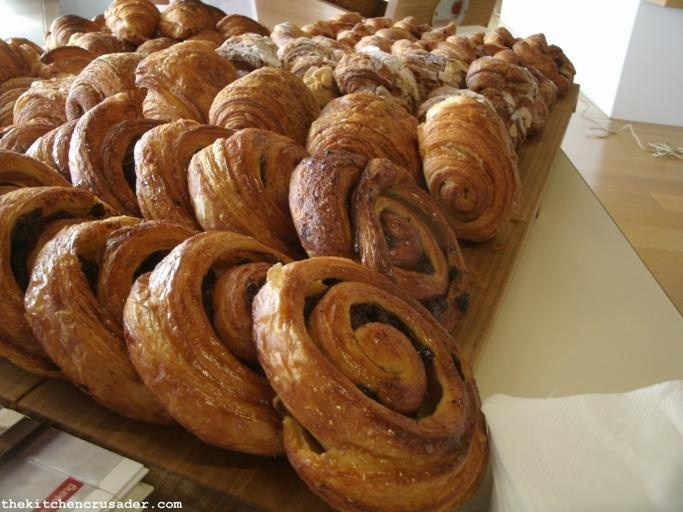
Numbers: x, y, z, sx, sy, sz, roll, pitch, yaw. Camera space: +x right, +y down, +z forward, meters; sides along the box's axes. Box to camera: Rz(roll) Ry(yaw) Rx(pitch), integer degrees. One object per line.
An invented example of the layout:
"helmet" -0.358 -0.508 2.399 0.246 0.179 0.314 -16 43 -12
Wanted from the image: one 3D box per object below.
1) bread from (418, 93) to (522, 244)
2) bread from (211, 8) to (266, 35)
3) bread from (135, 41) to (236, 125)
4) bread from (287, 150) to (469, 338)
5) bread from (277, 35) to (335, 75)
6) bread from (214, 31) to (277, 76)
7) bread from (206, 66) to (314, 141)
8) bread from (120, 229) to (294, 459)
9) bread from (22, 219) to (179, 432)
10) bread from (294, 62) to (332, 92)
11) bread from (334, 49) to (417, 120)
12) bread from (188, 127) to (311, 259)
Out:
"bread" 0.318 -0.233 1.415 0.254 0.173 0.455 -4 31 13
"bread" -0.375 -0.837 2.051 0.180 0.056 0.181 20 35 -3
"bread" -0.418 -0.446 1.434 0.268 0.111 0.316 -7 1 0
"bread" 0.052 0.010 1.120 0.126 0.375 0.295 -38 44 23
"bread" -0.109 -0.633 1.711 0.196 0.065 0.184 2 24 1
"bread" -0.261 -0.570 1.544 0.162 0.054 0.150 37 50 19
"bread" -0.174 -0.325 1.270 0.170 0.078 0.204 33 32 20
"bread" -0.262 0.165 0.919 0.311 0.107 0.328 15 48 -51
"bread" -0.456 0.140 0.998 0.108 0.317 0.273 -23 -1 43
"bread" -0.069 -0.464 1.453 0.086 0.027 0.092 -7 63 -6
"bread" 0.081 -0.419 1.464 0.179 0.059 0.162 12 35 -45
"bread" -0.182 -0.135 1.068 0.227 0.088 0.249 17 69 -18
